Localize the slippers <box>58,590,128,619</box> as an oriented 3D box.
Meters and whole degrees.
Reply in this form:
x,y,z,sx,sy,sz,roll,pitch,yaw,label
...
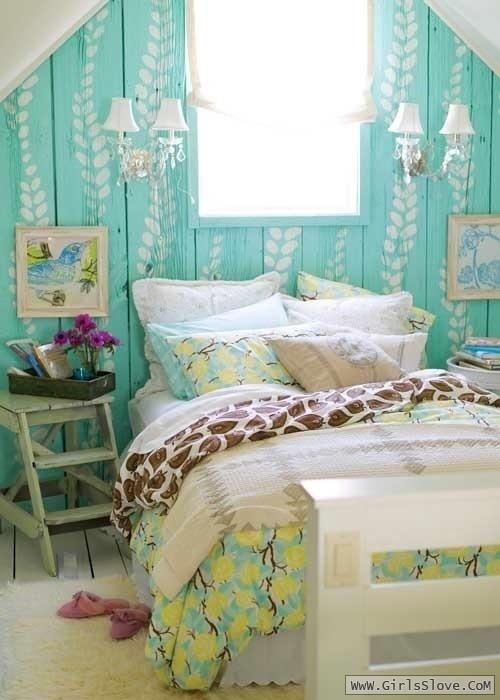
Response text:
x,y,z,sx,sy,sz,roll,pitch,yaw,label
-0.523,0.840,1.934,0.137,0.046,0.090,1,-3,-19,slippers

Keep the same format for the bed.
x,y,z,sx,sy,sz,roll,pitch,yaw,label
0.093,0.240,2.004,1.015,0.673,1.335,-2,14,-9,bed

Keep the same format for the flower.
x,y,z,sx,sy,sz,roll,pitch,yaw,label
-0.735,-0.027,2.602,0.230,0.219,0.224,8,-25,-42,flower

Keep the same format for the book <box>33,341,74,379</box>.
x,y,z,sx,sy,sz,roll,pitch,yaw,label
-0.842,0.052,2.531,0.039,0.146,0.159,-29,-11,29,book

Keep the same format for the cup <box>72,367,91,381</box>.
x,y,z,sx,sy,sz,roll,pitch,yaw,label
-0.714,0.103,2.536,0.078,0.052,0.057,-2,3,-13,cup

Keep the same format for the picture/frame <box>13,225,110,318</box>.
x,y,z,sx,sy,sz,roll,pitch,yaw,label
-0.900,-0.374,2.745,0.479,0.466,0.037,-2,4,-22,picture/frame

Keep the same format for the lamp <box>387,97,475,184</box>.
x,y,z,sx,sy,sz,roll,pitch,yaw,label
0.926,-1.107,3.071,0.482,0.377,0.239,-1,2,-19,lamp

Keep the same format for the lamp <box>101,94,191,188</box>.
x,y,z,sx,sy,sz,roll,pitch,yaw,label
-0.507,-0.989,2.765,0.483,0.421,0.244,-3,1,-27,lamp
